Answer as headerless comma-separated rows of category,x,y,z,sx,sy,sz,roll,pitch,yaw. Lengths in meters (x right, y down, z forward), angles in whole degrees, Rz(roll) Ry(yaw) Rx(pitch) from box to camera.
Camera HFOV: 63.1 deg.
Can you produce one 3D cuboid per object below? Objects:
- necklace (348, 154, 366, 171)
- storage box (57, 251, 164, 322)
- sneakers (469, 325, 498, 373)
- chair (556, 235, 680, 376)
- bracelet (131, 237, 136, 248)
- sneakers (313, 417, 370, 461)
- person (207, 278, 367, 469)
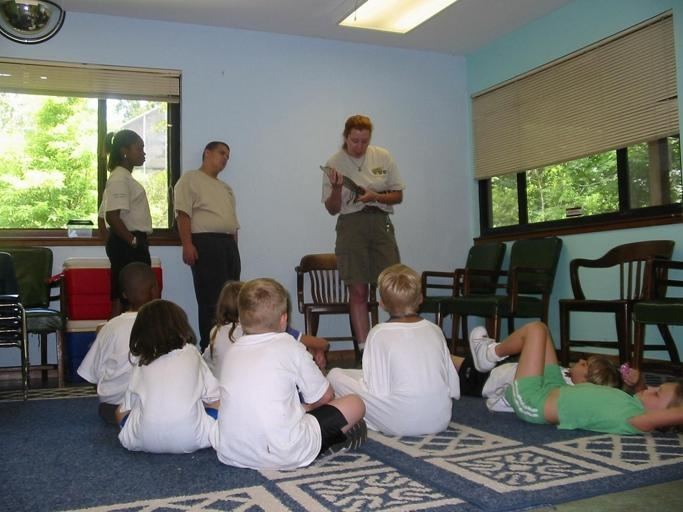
necklace,0.116,-0.656,3.937,0.085,0.084,0.107,-10,38,-3
storage box,-1.761,0.264,4.423,0.673,0.484,0.414,0,-2,-5
sneakers,0.784,0.505,2.960,0.122,0.267,0.161,17,-23,-39
chair,1.906,0.371,4.262,0.863,1.214,0.910,7,-7,-36
bracelet,-1.494,-0.102,4.003,0.053,0.059,0.038,0,-1,42
sneakers,0.011,0.787,2.364,0.085,0.104,0.241,-4,-6,37
person,-0.243,0.468,2.317,0.631,0.715,0.487,-1,0,13
